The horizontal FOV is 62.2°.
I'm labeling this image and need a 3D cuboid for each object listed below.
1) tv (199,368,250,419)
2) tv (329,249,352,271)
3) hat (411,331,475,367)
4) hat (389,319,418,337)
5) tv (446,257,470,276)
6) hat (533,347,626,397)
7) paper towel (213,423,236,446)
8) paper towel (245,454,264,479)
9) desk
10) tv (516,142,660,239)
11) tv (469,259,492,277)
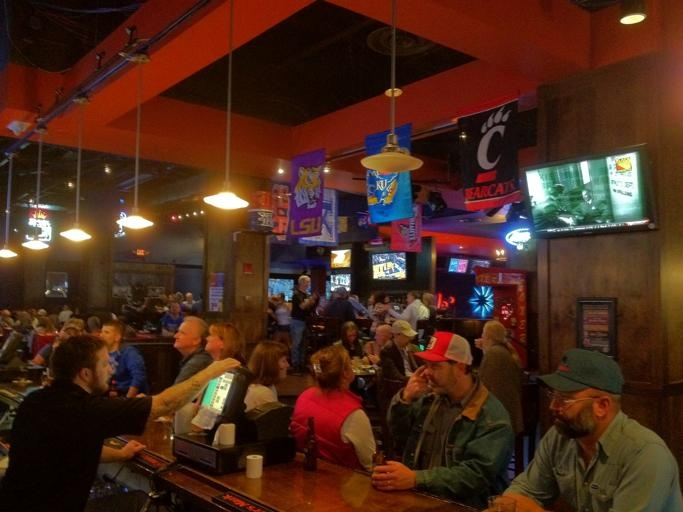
[{"bbox_3d":[-0.765,0.895,3.692,0.206,0.311,0.290,31,-8,-39],"label":"tv"},{"bbox_3d":[-0.015,0.094,19.520,0.889,0.662,0.221,-4,-6,43],"label":"tv"},{"bbox_3d":[0.641,0.586,3.587,0.325,0.140,0.211,12,-8,1],"label":"hat"},{"bbox_3d":[0.772,0.920,7.183,0.318,0.139,0.188,3,5,3],"label":"hat"},{"bbox_3d":[4.370,0.313,21.166,0.888,0.573,0.286,2,-5,-32],"label":"tv"},{"bbox_3d":[1.262,0.602,3.016,0.375,0.157,0.242,6,-4,7],"label":"hat"},{"bbox_3d":[-0.710,1.107,3.542,0.137,0.124,0.145,0,-1,1],"label":"paper towel"},{"bbox_3d":[-0.521,1.292,3.485,0.129,0.118,0.118,3,-3,-3],"label":"paper towel"},{"bbox_3d":[-0.582,1.168,4.728,2.110,0.768,2.372,-4,-10,35],"label":"desk"},{"bbox_3d":[2.386,-0.614,5.382,1.077,0.663,0.141,-8,2,38],"label":"tv"},{"bbox_3d":[4.058,0.343,16.852,0.807,0.620,0.390,0,3,-20],"label":"tv"}]
